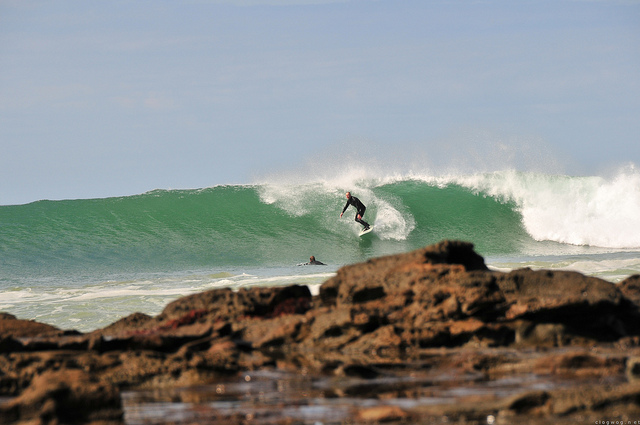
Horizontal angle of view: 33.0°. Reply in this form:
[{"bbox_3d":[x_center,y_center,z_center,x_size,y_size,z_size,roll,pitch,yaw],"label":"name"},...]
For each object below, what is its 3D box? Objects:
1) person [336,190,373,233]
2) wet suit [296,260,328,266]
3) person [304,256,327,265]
[{"bbox_3d":[1.457,0.010,45.718,1.244,1.615,0.836,-9,-37,-24],"label":"person"},{"bbox_3d":[-0.321,1.874,40.776,1.037,0.181,1.190,-3,3,-8],"label":"wet suit"},{"bbox_3d":[-0.198,1.780,41.091,0.800,0.348,1.747,-3,3,-1],"label":"person"}]
